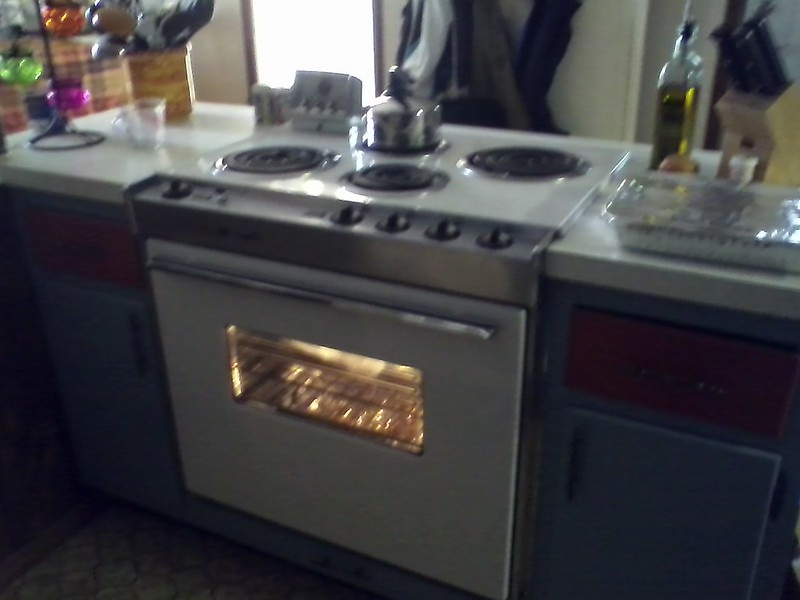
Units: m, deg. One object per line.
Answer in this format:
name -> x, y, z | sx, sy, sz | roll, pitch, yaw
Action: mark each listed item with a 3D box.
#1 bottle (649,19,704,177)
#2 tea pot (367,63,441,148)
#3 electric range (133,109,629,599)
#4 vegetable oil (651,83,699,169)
bottle -> 0.714, -0.516, 1.652 | 0.121, 0.366, 0.232 | 13, 30, 17
tea pot -> -0.025, -0.572, 1.932 | 0.248, 0.225, 0.234 | -2, 25, 1
electric range -> -0.096, 0.129, 1.813 | 1.109, 0.989, 0.606 | 14, 30, 20
vegetable oil -> 0.687, -0.423, 1.665 | 0.112, 0.296, 0.076 | 5, -9, 18
